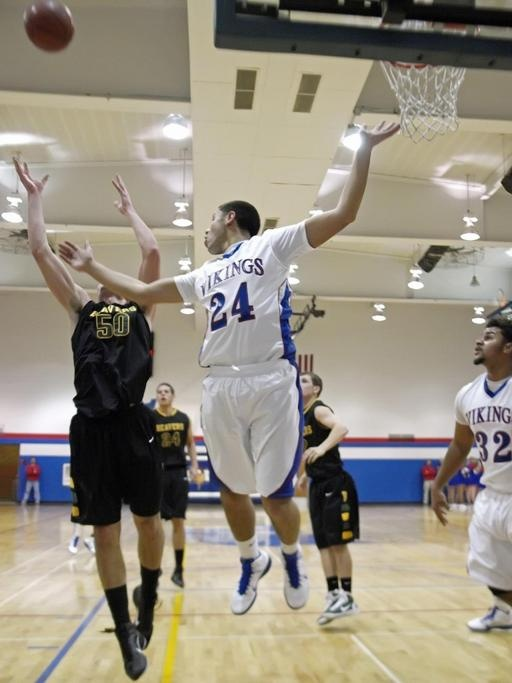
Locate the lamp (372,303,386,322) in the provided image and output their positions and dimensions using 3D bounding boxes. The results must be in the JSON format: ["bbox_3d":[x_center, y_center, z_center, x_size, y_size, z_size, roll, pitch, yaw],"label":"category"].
[{"bbox_3d":[3.570,-0.872,16.641,0.490,0.476,0.480,-8,-21,23],"label":"lamp"}]

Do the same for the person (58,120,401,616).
[{"bbox_3d":[0.012,0.194,2.498,1.339,2.050,0.562,-7,-7,19],"label":"person"}]

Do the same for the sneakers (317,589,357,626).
[{"bbox_3d":[0.456,1.464,3.176,0.114,0.137,0.318,-33,-24,18],"label":"sneakers"}]

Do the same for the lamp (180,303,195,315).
[{"bbox_3d":[-1.793,-0.856,15.125,0.487,0.112,0.459,4,-38,0],"label":"lamp"}]

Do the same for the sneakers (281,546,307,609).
[{"bbox_3d":[0.179,1.075,2.620,0.110,0.298,0.123,-5,5,5],"label":"sneakers"}]

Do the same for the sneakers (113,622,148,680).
[{"bbox_3d":[-0.476,1.164,2.156,0.101,0.172,0.183,-3,-7,-16],"label":"sneakers"}]
